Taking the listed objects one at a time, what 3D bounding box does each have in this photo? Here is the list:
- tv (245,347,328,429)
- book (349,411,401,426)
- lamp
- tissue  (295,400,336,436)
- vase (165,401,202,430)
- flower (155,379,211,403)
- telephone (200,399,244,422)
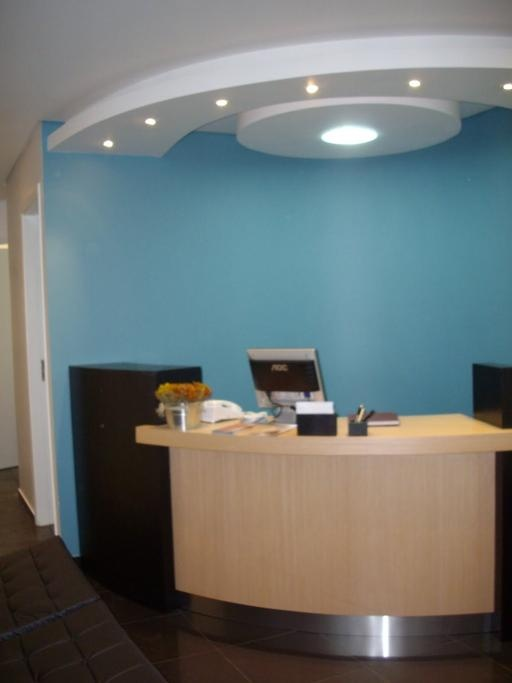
[{"bbox_3d":[0.182,0.282,3.517,0.562,0.532,0.258,-1,20,34],"label":"tv"},{"bbox_3d":[0.681,0.442,3.348,0.190,0.038,0.188,0,5,8],"label":"book"},{"bbox_3d":[0.820,-1.914,5.130,1.949,0.437,1.907,-18,29,-35],"label":"lamp"},{"bbox_3d":[0.318,0.408,3.090,0.199,0.188,0.184,0,8,7],"label":"tissue "},{"bbox_3d":[-0.417,0.432,3.451,0.184,0.121,0.146,0,3,17],"label":"vase"},{"bbox_3d":[-0.435,0.302,3.470,0.271,0.124,0.223,0,7,25],"label":"flower"},{"bbox_3d":[-0.217,0.414,3.628,0.201,0.087,0.126,-6,10,-41],"label":"telephone"}]
